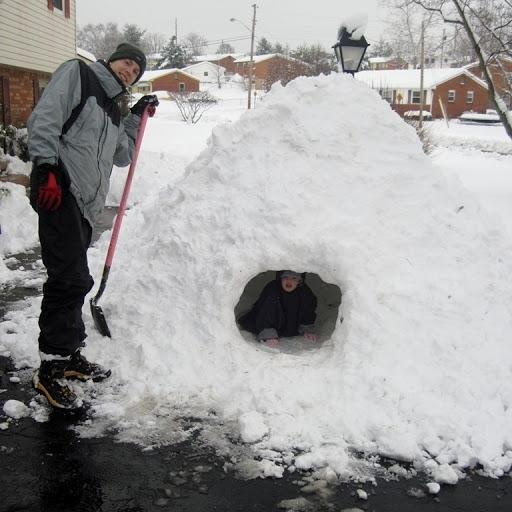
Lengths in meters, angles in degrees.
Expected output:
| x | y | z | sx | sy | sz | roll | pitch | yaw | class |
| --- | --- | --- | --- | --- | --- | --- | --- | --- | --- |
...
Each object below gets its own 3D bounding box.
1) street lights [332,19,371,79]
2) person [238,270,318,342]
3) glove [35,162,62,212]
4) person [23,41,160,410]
| x | y | z | sx | sy | sz | roll | pitch | yaw | class |
| --- | --- | --- | --- | --- | --- | --- | --- | --- | --- |
| 1.062 | -2.463 | 6.233 | 0.411 | 0.821 | 0.410 | 4 | 6 | -2 | street lights |
| 0.191 | 0.230 | 4.482 | 0.600 | 0.786 | 0.670 | 2 | 46 | 5 | person |
| -1.098 | -0.361 | 2.950 | 0.130 | 0.237 | 0.090 | -6 | -4 | 29 | glove |
| -0.997 | -0.249 | 3.326 | 0.496 | 2.121 | 0.941 | 4 | 4 | 7 | person |
